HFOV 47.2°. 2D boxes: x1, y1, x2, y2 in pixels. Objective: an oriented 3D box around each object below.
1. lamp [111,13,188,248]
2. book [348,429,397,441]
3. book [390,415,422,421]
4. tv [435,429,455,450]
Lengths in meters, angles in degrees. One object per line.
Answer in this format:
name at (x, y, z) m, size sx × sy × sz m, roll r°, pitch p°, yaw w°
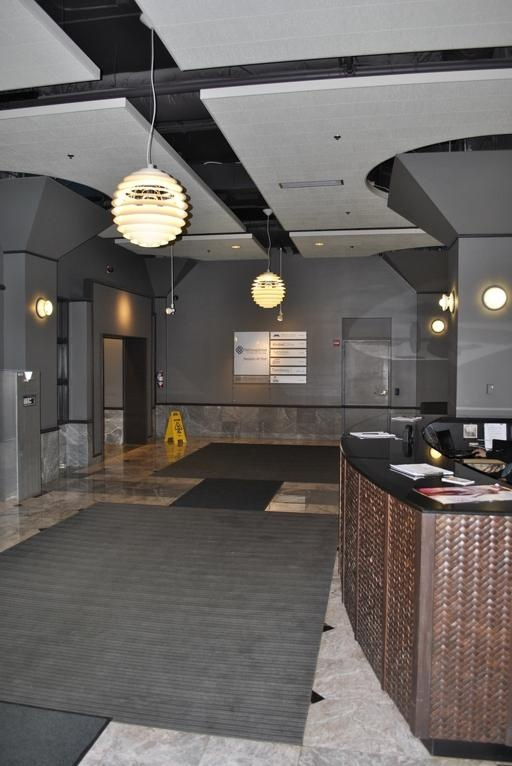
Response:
lamp at (-0.731, -1.848, 4.152) m, size 0.520 × 1.846 × 1.184 m, roll 0°, pitch 2°, yaw -8°
book at (0.973, 0.432, 4.875) m, size 0.401 × 0.030 × 0.312 m, roll -1°, pitch 4°, yaw -18°
book at (1.879, 0.445, 7.351) m, size 0.173 × 0.044 × 0.163 m, roll 0°, pitch 1°, yaw -23°
tv at (2.023, 0.625, 6.332) m, size 0.149 × 0.280 × 0.148 m, roll -7°, pitch -13°, yaw -8°
